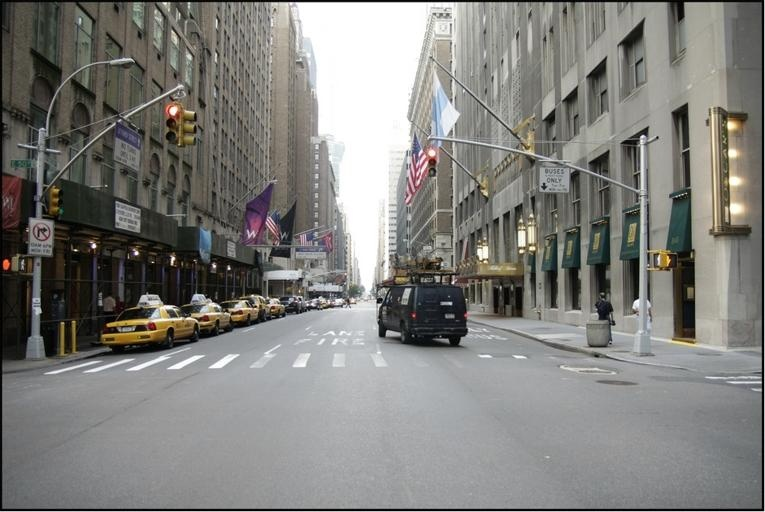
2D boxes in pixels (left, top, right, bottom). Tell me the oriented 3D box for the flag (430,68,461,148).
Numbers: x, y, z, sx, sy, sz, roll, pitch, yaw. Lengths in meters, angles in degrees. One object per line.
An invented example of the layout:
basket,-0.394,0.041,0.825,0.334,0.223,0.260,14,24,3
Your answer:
flag,3.394,-8.338,35.575,1.279,5.119,6.169,-3,-6,6

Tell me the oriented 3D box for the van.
van,1.622,2.689,29.034,3.137,2.811,6.507,0,-7,-26

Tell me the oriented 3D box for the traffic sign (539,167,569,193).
traffic sign,7.359,-3.271,27.276,0.966,1.003,0.159,-1,-1,1

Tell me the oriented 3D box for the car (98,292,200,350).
car,-9.496,2.869,25.868,1.783,2.004,4.736,0,-2,1
